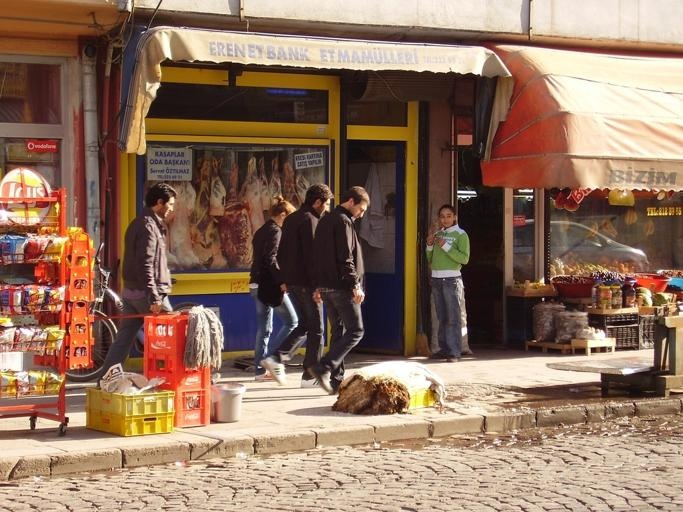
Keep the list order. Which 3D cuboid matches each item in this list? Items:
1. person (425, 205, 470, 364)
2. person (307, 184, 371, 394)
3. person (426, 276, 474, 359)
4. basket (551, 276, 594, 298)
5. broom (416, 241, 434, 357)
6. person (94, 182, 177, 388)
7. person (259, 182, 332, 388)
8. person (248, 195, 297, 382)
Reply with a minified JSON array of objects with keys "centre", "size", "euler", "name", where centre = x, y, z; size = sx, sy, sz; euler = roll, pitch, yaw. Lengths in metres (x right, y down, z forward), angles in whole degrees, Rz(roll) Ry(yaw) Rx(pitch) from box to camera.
[{"centre":[1.571,0.378,15.024],"size":[0.380,2.283,0.617],"euler":[-3,7,-41],"name":"person"},{"centre":[-0.029,0.440,12.190],"size":[0.627,2.524,0.735],"euler":[1,5,1],"name":"person"},{"centre":[1.619,0.926,15.414],"size":[0.644,1.175,0.269],"euler":[-1,-8,8],"name":"person"},{"centre":[3.684,0.491,16.056],"size":[0.344,0.181,0.454],"euler":[1,3,-26],"name":"basket"},{"centre":[1.269,0.589,15.460],"size":[0.276,1.684,0.298],"euler":[-3,9,-26],"name":"broom"},{"centre":[-2.369,0.321,11.843],"size":[0.949,2.312,0.804],"euler":[0,-1,-36],"name":"person"},{"centre":[-0.353,0.333,12.626],"size":[0.874,2.444,0.957],"euler":[-5,15,-37],"name":"person"},{"centre":[-0.967,0.435,13.253],"size":[0.655,2.155,0.815],"euler":[-3,14,-33],"name":"person"}]
